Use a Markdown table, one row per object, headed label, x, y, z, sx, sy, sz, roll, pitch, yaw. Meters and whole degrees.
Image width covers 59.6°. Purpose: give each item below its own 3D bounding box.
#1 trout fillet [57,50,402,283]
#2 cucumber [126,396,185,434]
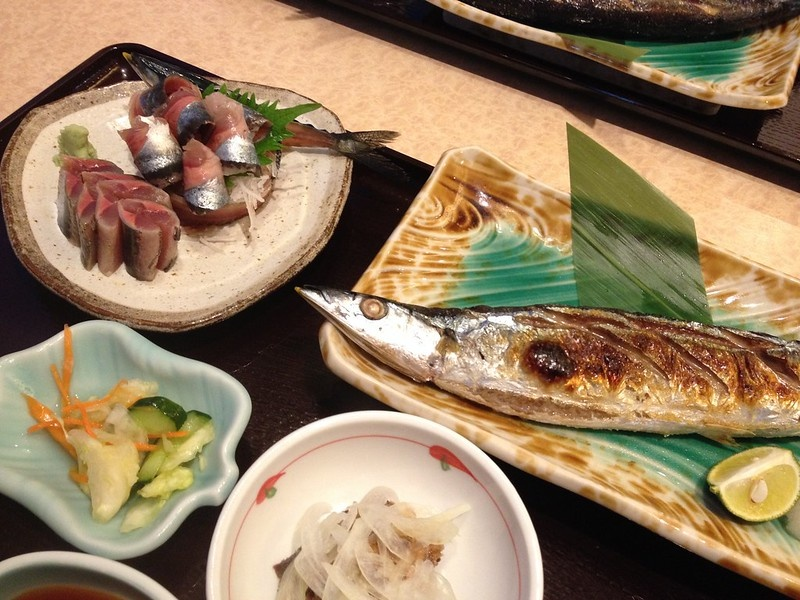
| label | x | y | z | sx | sy | sz | roll | pitch | yaw |
| --- | --- | --- | --- | --- | --- | --- | --- | --- | --- |
| trout fillet | -0.993 | -0.636 | 3.691 | 1.530 | 0.612 | 0.981 | -32 | 75 | -35 |
| cucumber | -0.954 | 0.468 | 2.768 | 0.170 | 0.046 | 0.153 | 29 | 45 | 18 |
